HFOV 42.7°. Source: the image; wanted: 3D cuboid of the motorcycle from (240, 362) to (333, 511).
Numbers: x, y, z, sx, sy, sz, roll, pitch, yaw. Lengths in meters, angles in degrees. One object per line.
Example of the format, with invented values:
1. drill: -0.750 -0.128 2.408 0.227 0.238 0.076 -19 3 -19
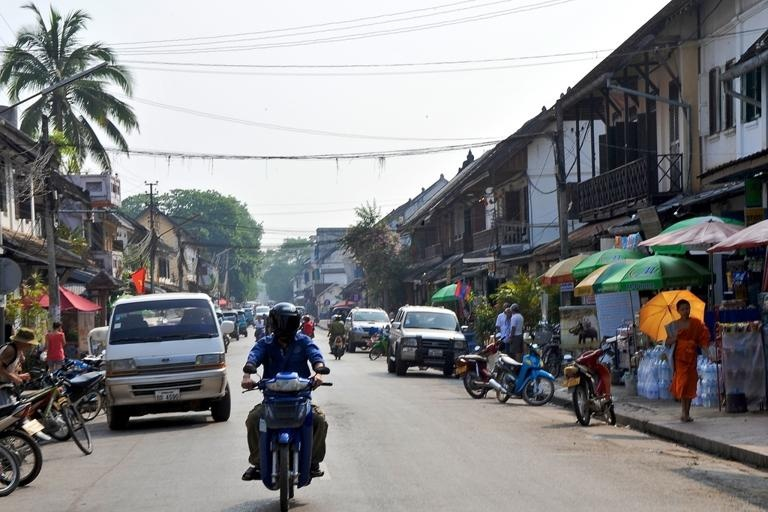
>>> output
1. motorcycle: -1.553 2.840 15.387 1.033 2.205 0.662 1 -8 -8

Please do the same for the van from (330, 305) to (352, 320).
1. van: -3.316 4.269 77.693 1.541 1.096 2.460 -1 -4 -6

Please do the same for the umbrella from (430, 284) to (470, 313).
1. umbrella: 3.120 1.759 44.406 1.310 1.381 1.475 -1 -4 1

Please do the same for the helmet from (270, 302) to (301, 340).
1. helmet: -1.553 1.015 16.006 0.373 0.524 0.507 -2 4 5

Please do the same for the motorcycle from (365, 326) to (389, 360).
1. motorcycle: -0.297 3.606 40.860 0.730 0.951 1.451 1 -8 -4

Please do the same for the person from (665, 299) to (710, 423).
1. person: 6.382 2.187 20.684 0.741 2.523 0.675 2 -8 -13

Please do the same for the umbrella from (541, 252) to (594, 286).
1. umbrella: 5.508 0.371 29.452 1.019 0.406 1.073 -18 -9 8

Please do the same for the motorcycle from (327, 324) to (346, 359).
1. motorcycle: -1.950 3.520 41.056 0.706 1.419 0.675 2 1 23

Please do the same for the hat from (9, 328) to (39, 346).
1. hat: -6.796 1.520 18.736 0.363 0.222 0.396 8 -10 -5

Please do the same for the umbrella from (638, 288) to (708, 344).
1. umbrella: 6.682 1.343 23.233 1.523 0.574 1.492 -31 28 -29

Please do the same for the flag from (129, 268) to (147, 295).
1. flag: -12.304 1.216 48.924 0.196 1.861 1.372 2 -3 25
